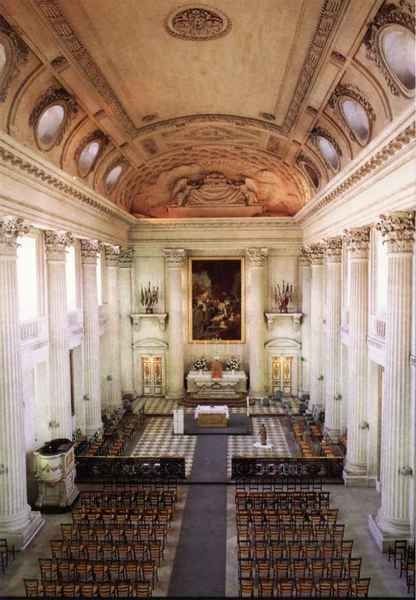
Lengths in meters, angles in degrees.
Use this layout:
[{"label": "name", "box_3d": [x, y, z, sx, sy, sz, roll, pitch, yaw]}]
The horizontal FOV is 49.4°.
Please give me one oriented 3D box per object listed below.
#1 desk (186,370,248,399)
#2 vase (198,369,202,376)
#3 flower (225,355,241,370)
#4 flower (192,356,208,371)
[{"label": "desk", "box_3d": [0.403, 3.948, 21.002, 2.755, 1.192, 0.817, 0, 1, -2]}, {"label": "vase", "box_3d": [-0.359, 3.428, 21.236, 0.188, 0.350, 0.189, 0, 5, 1]}, {"label": "flower", "box_3d": [1.228, 3.061, 21.645, 0.643, 0.650, 0.622, 0, -5, 1]}, {"label": "flower", "box_3d": [-0.344, 3.121, 21.742, 0.753, 0.634, 0.907, 0, 1, -2]}]
